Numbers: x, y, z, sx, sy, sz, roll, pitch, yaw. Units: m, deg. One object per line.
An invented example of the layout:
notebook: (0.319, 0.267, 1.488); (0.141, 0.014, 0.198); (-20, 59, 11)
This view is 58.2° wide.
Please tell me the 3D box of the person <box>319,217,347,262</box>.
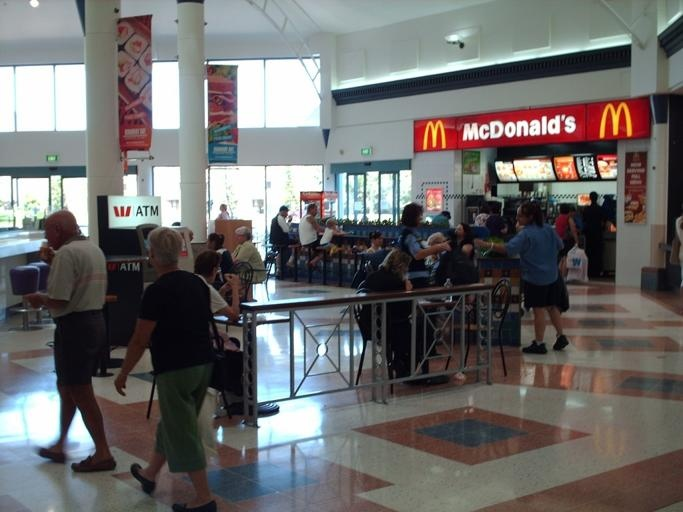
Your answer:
person: (-0.215, -0.345, 13.034); (0.430, 0.873, 0.688); (-4, 6, -32)

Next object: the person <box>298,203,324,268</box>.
person: (-0.693, -0.465, 13.302); (0.437, 1.352, 0.639); (-1, 5, -5)

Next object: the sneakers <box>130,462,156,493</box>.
sneakers: (-1.296, 1.459, 4.013); (0.086, 0.213, 0.070); (-28, -9, 10)

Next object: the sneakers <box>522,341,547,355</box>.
sneakers: (2.292, 1.090, 7.383); (0.124, 0.159, 0.332); (-4, 7, -40)

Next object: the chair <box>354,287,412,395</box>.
chair: (0.405, 0.796, 5.883); (0.581, 1.055, 0.502); (-2, 6, -16)

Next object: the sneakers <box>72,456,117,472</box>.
sneakers: (-1.738, 1.463, 4.296); (0.251, 0.097, 0.123); (3, -2, -3)

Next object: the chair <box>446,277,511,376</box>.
chair: (1.665, 0.735, 7.310); (0.638, 0.912, 0.668); (8, 17, 36)

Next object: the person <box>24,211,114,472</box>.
person: (-1.870, 0.589, 4.355); (0.456, 1.826, 0.396); (-2, 5, -17)

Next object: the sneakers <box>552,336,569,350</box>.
sneakers: (2.678, 1.059, 7.528); (0.119, 0.156, 0.225); (-4, 7, 1)

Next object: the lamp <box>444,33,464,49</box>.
lamp: (2.693, -5.214, 14.861); (0.478, 0.362, 0.365); (5, 8, 44)

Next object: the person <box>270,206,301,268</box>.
person: (-1.256, -0.548, 13.965); (0.592, 1.249, 0.516); (-21, -25, 28)
